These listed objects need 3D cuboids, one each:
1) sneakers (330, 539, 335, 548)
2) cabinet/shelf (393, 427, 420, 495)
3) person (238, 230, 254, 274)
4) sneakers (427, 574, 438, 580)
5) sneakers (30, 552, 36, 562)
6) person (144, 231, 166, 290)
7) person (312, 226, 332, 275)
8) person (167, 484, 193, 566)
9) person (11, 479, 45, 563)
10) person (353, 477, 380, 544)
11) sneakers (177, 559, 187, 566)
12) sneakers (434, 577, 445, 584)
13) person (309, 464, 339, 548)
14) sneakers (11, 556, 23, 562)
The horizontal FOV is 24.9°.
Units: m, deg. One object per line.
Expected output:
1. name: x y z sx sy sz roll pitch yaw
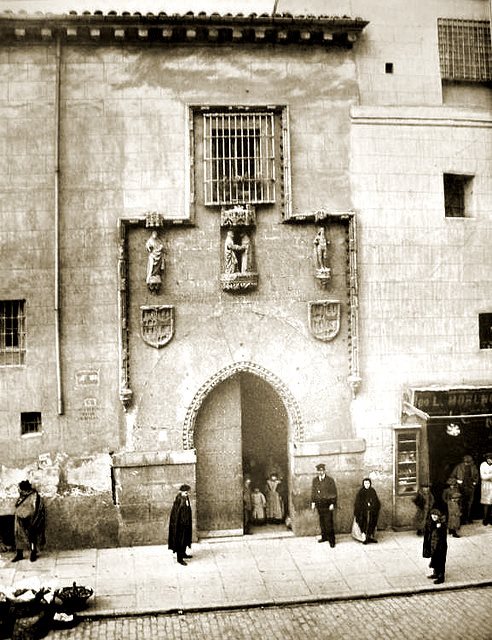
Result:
1. sneakers: 1.825 4.725 23.601 0.084 0.173 0.047 0 3 3
2. cabinet/shelf: 3.538 3.125 24.513 0.441 1.658 0.160 -2 18 5
3. person: 0.012 -1.436 23.955 0.316 0.929 0.293 -1 -3 -5
4. sneakers: 3.682 5.032 21.889 0.160 0.148 0.064 1 -8 14
5. sneakers: -4.406 4.860 22.984 0.140 0.211 0.290 -1 -4 -12
6. person: -1.938 -1.254 23.758 0.367 1.272 0.255 -1 -3 -8
7. person: 1.640 -1.469 24.169 0.370 1.169 0.384 -1 -3 -1
8. person: -1.332 4.189 22.892 0.410 1.582 0.668 -3 -4 33
9. person: -4.568 4.101 23.176 0.565 1.967 0.507 -2 20 -15
10. person: 2.567 4.075 23.845 0.575 1.382 0.530 -2 -3 6
11. sneakers: -1.308 4.925 22.691 0.193 0.123 0.184 -1 -4 -9
12. sneakers: 3.765 5.066 21.688 0.186 0.188 0.091 -1 -9 8
13. person: 1.678 3.974 23.953 0.682 1.732 0.372 -4 -4 41
14. sneakers: -4.717 4.891 22.875 0.269 0.130 0.168 1 -5 -32
